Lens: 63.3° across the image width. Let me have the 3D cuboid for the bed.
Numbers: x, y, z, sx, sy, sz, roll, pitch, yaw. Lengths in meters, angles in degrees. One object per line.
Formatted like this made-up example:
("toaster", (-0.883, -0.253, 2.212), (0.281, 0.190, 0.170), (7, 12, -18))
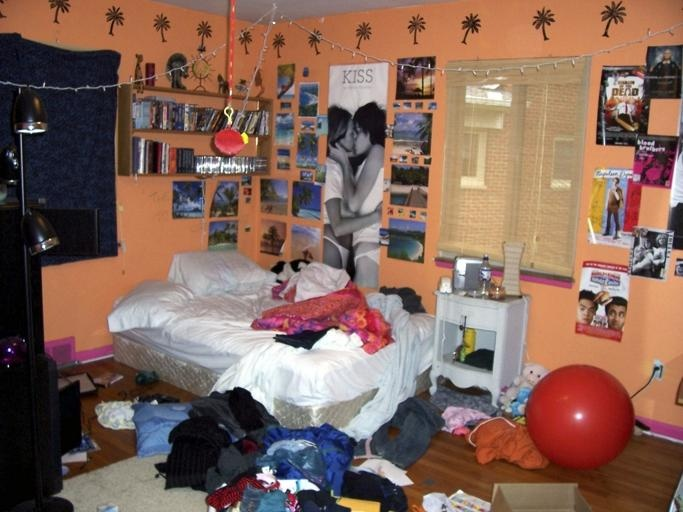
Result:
("bed", (-0.667, 0.763, 4.487), (1.660, 0.520, 1.409), (8, 11, 37))

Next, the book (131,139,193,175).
("book", (-1.698, -0.936, 5.330), (0.540, 0.261, 0.215), (5, 6, -2))

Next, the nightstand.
("nightstand", (1.121, 0.758, 4.700), (0.627, 0.879, 0.552), (7, 7, 32))

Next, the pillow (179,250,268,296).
("pillow", (-1.169, 0.166, 5.587), (0.490, 0.194, 0.648), (20, 20, 40))

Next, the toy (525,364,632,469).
("toy", (1.614, 1.058, 3.874), (0.641, 0.705, 0.657), (8, 34, 18))
